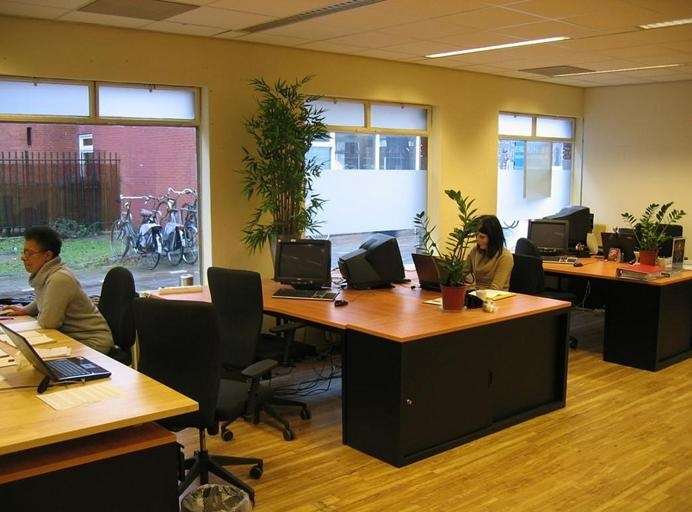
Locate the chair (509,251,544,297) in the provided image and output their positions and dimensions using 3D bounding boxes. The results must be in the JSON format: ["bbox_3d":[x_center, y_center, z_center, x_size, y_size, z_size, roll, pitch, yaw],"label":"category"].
[{"bbox_3d":[2.088,0.237,5.967,0.291,0.496,0.538,-6,-7,27],"label":"chair"}]

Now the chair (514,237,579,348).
[{"bbox_3d":[2.356,0.384,5.893,0.653,1.102,0.716,-4,0,41],"label":"chair"}]

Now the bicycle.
[{"bbox_3d":[-2.039,-0.272,5.629,1.002,0.603,0.619,6,9,40],"label":"bicycle"}]

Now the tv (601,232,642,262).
[{"bbox_3d":[3.457,-0.173,6.539,0.323,0.410,0.428,-9,12,-38],"label":"tv"}]

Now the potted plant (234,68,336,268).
[{"bbox_3d":[-0.537,-0.989,5.548,1.070,1.990,1.105,-5,10,-27],"label":"potted plant"}]

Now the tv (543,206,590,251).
[{"bbox_3d":[3.073,-0.349,6.999,0.607,0.612,0.593,0,11,-7],"label":"tv"}]

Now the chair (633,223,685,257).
[{"bbox_3d":[3.524,-0.172,5.907,0.209,0.354,0.376,-14,12,-29],"label":"chair"}]

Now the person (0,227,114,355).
[{"bbox_3d":[-2.252,0.270,4.193,0.954,1.057,0.812,-2,-1,-18],"label":"person"}]

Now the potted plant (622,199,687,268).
[{"bbox_3d":[3.906,-0.278,6.551,1.078,0.879,1.094,3,2,36],"label":"potted plant"}]

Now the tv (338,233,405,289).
[{"bbox_3d":[0.238,-0.018,5.094,0.548,0.515,0.556,-6,9,-23],"label":"tv"}]

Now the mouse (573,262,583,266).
[{"bbox_3d":[2.740,0.102,6.170,0.056,0.031,0.089,-3,3,14],"label":"mouse"}]

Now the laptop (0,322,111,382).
[{"bbox_3d":[-1.543,0.452,2.819,0.406,0.254,0.418,-2,10,-39],"label":"laptop"}]

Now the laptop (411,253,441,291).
[{"bbox_3d":[0.746,0.156,4.850,0.225,0.293,0.309,-12,14,-38],"label":"laptop"}]

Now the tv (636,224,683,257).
[{"bbox_3d":[3.495,-0.163,5.854,0.223,0.370,0.398,-4,6,-18],"label":"tv"}]

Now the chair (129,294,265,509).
[{"bbox_3d":[-0.903,0.904,3.321,0.825,1.194,0.801,3,-3,12],"label":"chair"}]
